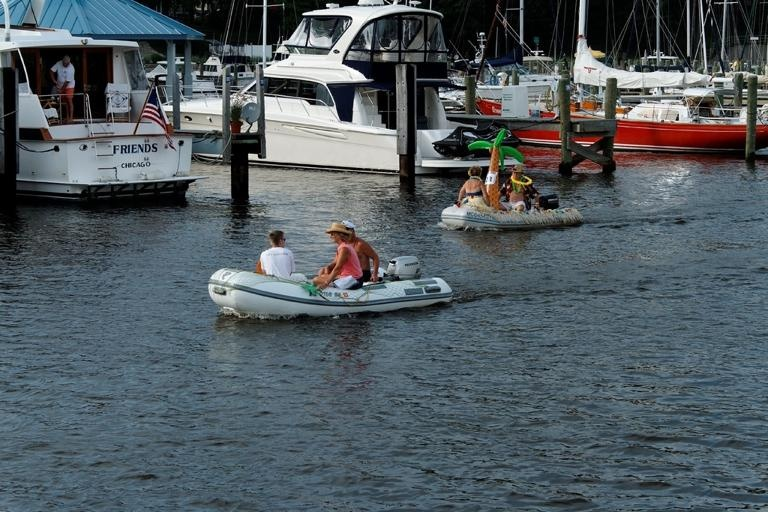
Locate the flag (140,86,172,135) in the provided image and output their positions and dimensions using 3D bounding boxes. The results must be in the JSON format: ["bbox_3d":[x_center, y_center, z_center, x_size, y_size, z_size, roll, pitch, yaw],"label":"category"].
[{"bbox_3d":[-6.016,-3.816,33.757,0.829,1.240,0.793,-1,14,-9],"label":"flag"}]

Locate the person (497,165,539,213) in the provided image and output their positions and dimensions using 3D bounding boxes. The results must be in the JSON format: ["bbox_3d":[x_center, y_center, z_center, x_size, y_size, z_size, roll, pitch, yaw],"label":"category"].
[{"bbox_3d":[3.329,-1.676,32.439,1.264,1.190,0.863,-3,14,-19],"label":"person"}]

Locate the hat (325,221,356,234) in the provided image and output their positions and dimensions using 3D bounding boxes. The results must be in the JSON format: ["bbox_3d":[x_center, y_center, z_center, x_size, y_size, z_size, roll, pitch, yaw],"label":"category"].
[{"bbox_3d":[-0.796,-0.540,24.314,0.460,0.269,0.409,1,13,0],"label":"hat"}]

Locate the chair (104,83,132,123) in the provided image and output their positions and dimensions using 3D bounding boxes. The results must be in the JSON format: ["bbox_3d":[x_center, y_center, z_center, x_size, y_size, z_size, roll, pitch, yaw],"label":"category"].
[{"bbox_3d":[-7.088,-4.132,34.497,0.676,0.958,0.626,-1,5,-10],"label":"chair"}]
